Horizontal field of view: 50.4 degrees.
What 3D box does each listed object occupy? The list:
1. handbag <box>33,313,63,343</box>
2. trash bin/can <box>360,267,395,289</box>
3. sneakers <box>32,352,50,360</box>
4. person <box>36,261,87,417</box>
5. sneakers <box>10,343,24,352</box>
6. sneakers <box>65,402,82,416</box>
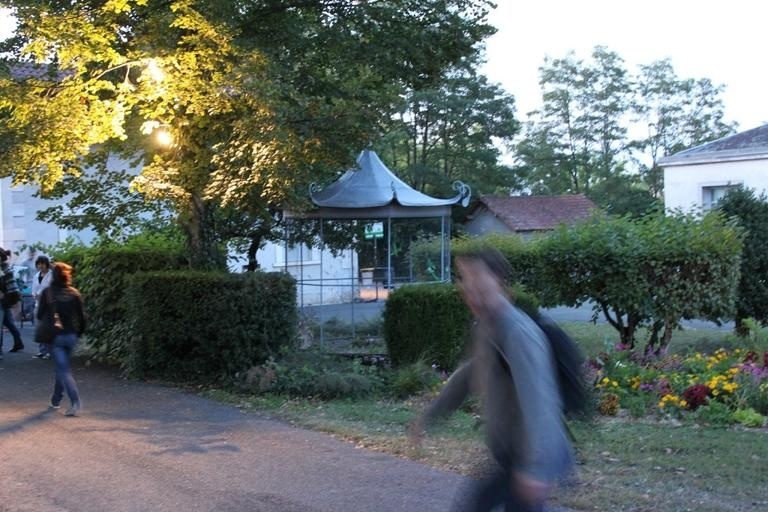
[{"bbox_3d":[-5.549,1.191,13.452,0.367,0.527,0.280,19,-16,2],"label":"handbag"},{"bbox_3d":[-0.266,0.594,22.615,0.777,0.547,0.446,-3,10,-1],"label":"trash bin/can"},{"bbox_3d":[-7.850,2.273,18.528,0.419,0.171,0.158,3,-3,15],"label":"sneakers"},{"bbox_3d":[-5.349,1.380,13.574,0.764,2.477,0.862,-11,13,-38],"label":"person"},{"bbox_3d":[-8.846,2.206,19.570,0.426,0.175,0.152,1,2,34],"label":"sneakers"},{"bbox_3d":[-5.174,2.536,13.513,0.135,0.166,0.395,2,1,-41],"label":"sneakers"}]
